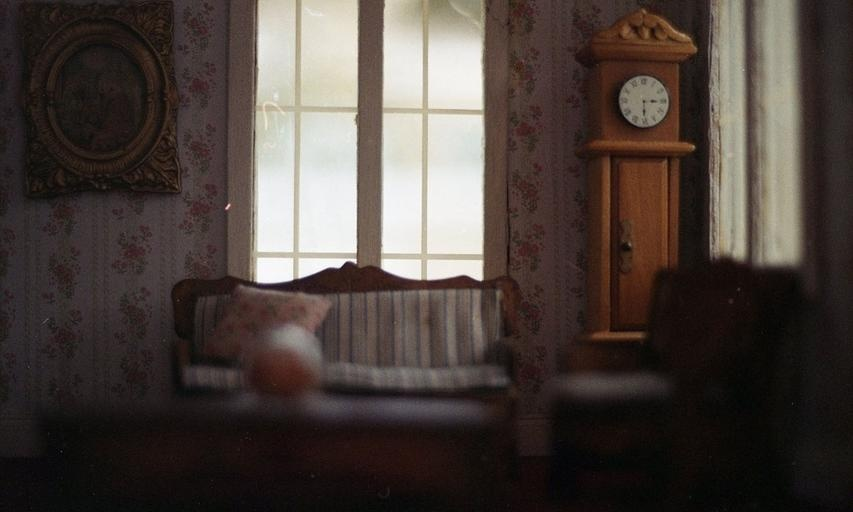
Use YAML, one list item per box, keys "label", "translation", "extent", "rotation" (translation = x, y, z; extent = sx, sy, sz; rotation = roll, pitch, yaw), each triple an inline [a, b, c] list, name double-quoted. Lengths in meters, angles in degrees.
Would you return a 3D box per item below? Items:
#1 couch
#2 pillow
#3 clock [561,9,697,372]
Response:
- label: "couch"
  translation: [-0.235, 0.252, 2.662]
  extent: [0.972, 0.397, 0.268]
  rotation: [0, 3, -3]
- label: "pillow"
  translation: [-0.489, 0.193, 2.697]
  extent: [0.260, 0.251, 0.080]
  rotation: [15, -19, 14]
- label: "clock"
  translation: [0.687, -0.252, 3.172]
  extent: [0.407, 1.108, 0.245]
  rotation: [0, 2, 9]
